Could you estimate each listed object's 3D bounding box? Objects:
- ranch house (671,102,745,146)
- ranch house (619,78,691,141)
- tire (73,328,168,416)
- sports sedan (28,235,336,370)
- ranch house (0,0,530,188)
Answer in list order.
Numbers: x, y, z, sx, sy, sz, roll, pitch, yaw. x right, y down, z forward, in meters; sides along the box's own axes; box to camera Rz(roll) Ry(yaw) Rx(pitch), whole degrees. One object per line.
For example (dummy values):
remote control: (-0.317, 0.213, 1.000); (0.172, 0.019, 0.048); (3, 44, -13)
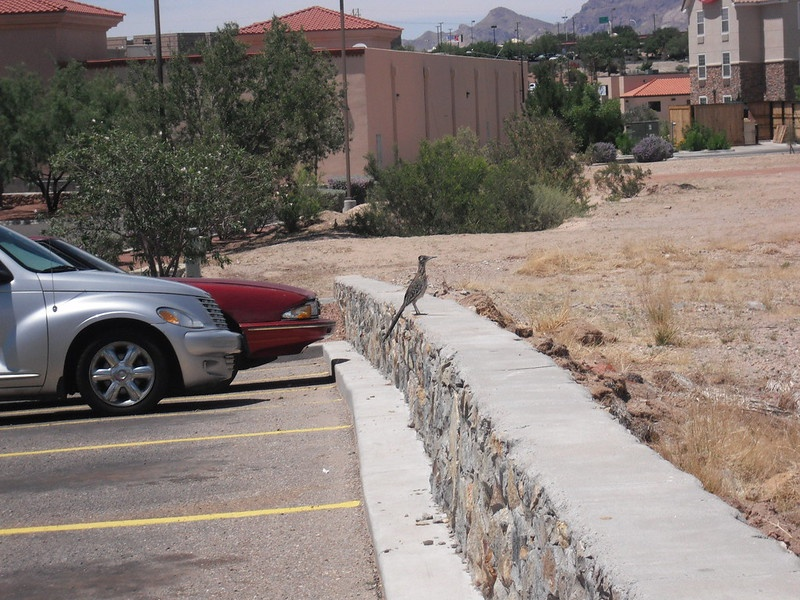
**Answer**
ranch house: (19.464, -11.353, 66.125); (4.010, 3.001, 4.394); (0, 1, 2)
ranch house: (29.094, -23.141, 118.496); (6.694, 3.550, 6.969); (17, 31, 39)
tire: (-2.836, 0.710, 10.676); (0.879, 1.052, 0.338); (-3, 24, -13)
sports sedan: (-2.473, -0.089, 12.214); (3.289, 1.317, 1.500); (-1, 1, -6)
ranch house: (-4.104, -12.251, 59.885); (15.565, 10.381, 37.083); (5, 11, 44)
